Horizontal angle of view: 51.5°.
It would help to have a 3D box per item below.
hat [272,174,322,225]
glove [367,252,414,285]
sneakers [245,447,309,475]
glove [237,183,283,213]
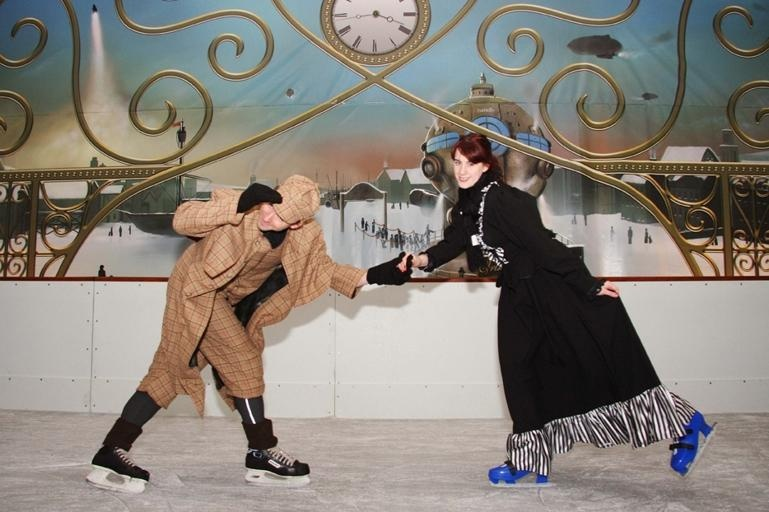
[{"bbox_3d":[-0.642,-0.419,5.827,0.307,0.374,0.143,0,-4,0],"label":"hat"},{"bbox_3d":[0.049,0.117,6.044,0.317,0.226,0.120,-14,-4,-8],"label":"glove"},{"bbox_3d":[-0.825,1.548,6.095,0.550,0.232,0.193,2,-3,-2],"label":"sneakers"},{"bbox_3d":[-0.906,-0.423,5.778,0.308,0.208,0.168,-2,-4,28],"label":"glove"}]
